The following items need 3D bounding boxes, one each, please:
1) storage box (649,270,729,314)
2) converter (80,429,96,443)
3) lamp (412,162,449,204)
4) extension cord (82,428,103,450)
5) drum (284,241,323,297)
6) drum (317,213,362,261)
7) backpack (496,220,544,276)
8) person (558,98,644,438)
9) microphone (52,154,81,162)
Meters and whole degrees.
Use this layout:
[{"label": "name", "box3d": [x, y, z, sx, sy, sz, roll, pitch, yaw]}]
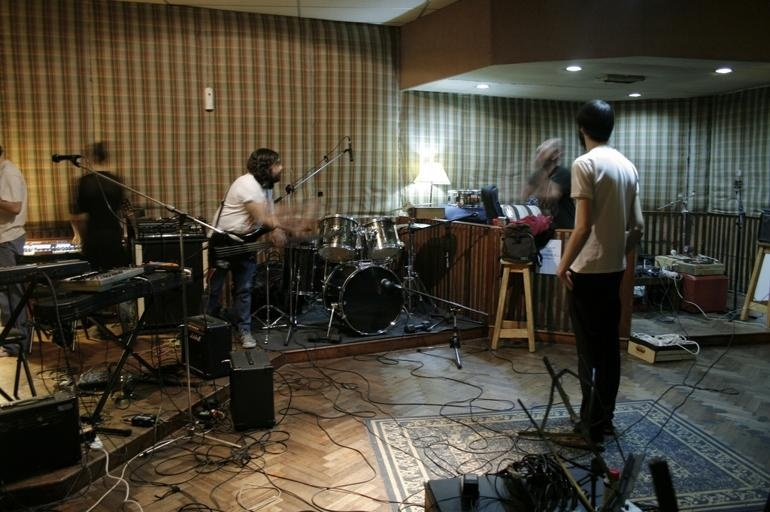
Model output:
[{"label": "storage box", "box3d": [3.902, 0.446, 7.871, 0.602, 0.529, 0.885, -4, 9, -24]}, {"label": "converter", "box3d": [-2.327, 1.416, 4.790, 0.099, 0.086, 0.023, 11, -5, -12]}, {"label": "lamp", "box3d": [0.677, -1.087, 8.909, 0.510, 0.633, 0.468, 0, 10, 4]}, {"label": "extension cord", "box3d": [-2.277, 1.432, 4.769, 0.220, 0.115, 0.118, 6, 11, 33]}, {"label": "drum", "box3d": [-0.906, 0.140, 6.891, 0.580, 0.573, 0.567, 0, 4, 5]}, {"label": "drum", "box3d": [-0.512, -0.178, 6.615, 0.486, 0.363, 0.469, 1, -15, 0]}, {"label": "backpack", "box3d": [1.475, -0.136, 6.769, 0.699, 0.734, 0.423, 0, 2, 17]}, {"label": "person", "box3d": [1.735, 0.041, 4.962, 0.487, 2.580, 0.628, 5, 11, 30]}, {"label": "microphone", "box3d": [-2.826, -0.887, 5.434, 0.167, 0.069, 1.510, -5, 11, -25]}]
